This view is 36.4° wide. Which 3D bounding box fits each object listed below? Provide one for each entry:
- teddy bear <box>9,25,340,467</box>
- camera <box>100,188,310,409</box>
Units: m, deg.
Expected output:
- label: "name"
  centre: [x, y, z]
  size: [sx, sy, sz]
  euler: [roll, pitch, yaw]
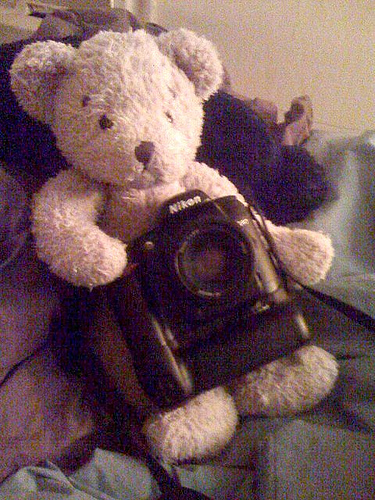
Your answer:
- label: "teddy bear"
  centre: [0.058, -0.071, 0.685]
  size: [0.360, 0.454, 0.401]
  euler: [-15, 22, -30]
- label: "camera"
  centre: [0.020, 0.039, 0.525]
  size: [0.197, 0.055, 0.172]
  euler: [-41, 67, 21]
